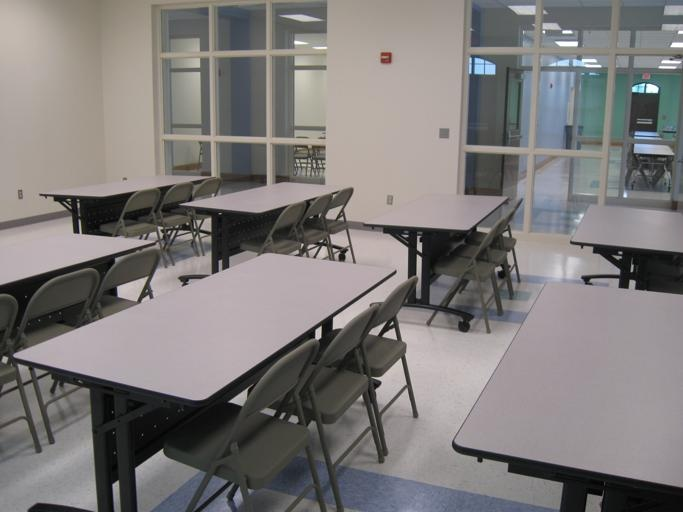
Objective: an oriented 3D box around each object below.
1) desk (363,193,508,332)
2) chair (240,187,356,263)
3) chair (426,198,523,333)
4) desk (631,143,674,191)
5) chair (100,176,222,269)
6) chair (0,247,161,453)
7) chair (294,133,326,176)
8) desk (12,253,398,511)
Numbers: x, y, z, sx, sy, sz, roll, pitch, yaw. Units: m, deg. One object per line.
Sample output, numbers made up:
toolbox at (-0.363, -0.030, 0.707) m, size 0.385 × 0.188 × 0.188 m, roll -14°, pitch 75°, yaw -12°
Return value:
desk at (0.901, -0.462, 4.918) m, size 1.095 × 0.977 × 1.951 m, roll 5°, pitch 18°, yaw 21°
chair at (-0.495, -0.341, 5.541) m, size 0.335 × 0.558 × 0.825 m, roll 14°, pitch 24°, yaw 28°
chair at (1.235, 0.111, 4.940) m, size 0.452 × 0.727 × 1.064 m, roll 10°, pitch 24°, yaw 25°
desk at (4.490, -1.214, 7.525) m, size 0.536 × 0.503 × 1.035 m, roll 7°, pitch 8°, yaw 30°
chair at (-1.977, -0.387, 5.717) m, size 0.425 × 0.656 × 0.987 m, roll 20°, pitch 26°, yaw 28°
chair at (-1.390, 0.499, 2.697) m, size 0.660 × 0.950 × 0.685 m, roll 20°, pitch 25°, yaw 21°
chair at (-0.480, -1.722, 8.604) m, size 0.552 × 0.909 × 0.640 m, roll 3°, pitch 26°, yaw 7°
desk at (-0.575, 0.602, 2.576) m, size 0.932 × 0.759 × 1.516 m, roll 7°, pitch 15°, yaw 29°
